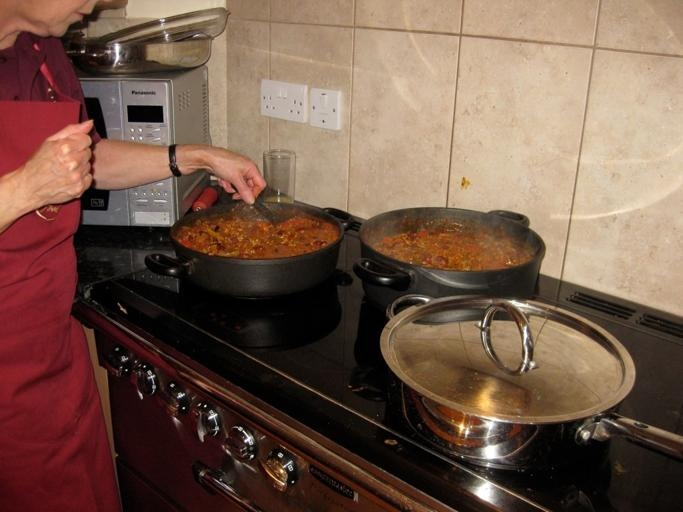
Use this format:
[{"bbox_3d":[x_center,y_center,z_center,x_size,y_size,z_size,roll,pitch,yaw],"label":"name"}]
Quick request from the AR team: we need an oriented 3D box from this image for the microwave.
[{"bbox_3d":[-0.669,-0.324,1.724,0.351,0.403,0.451,-4,16,-17],"label":"microwave"}]

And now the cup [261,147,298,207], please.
[{"bbox_3d":[-0.193,-0.244,1.684,0.101,0.161,0.103,3,5,0],"label":"cup"}]

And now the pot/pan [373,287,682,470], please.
[{"bbox_3d":[0.286,0.188,0.935,0.448,0.236,0.271,7,15,6],"label":"pot/pan"}]

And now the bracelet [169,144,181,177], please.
[{"bbox_3d":[-0.424,-0.238,1.396,0.014,0.058,0.055,-5,2,3],"label":"bracelet"}]
